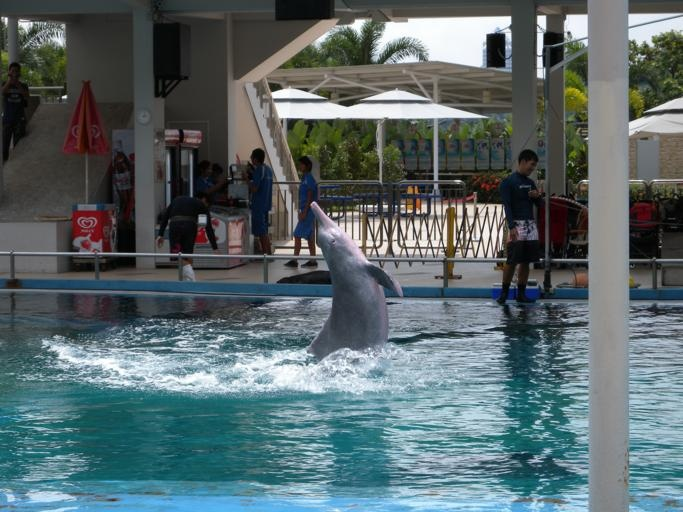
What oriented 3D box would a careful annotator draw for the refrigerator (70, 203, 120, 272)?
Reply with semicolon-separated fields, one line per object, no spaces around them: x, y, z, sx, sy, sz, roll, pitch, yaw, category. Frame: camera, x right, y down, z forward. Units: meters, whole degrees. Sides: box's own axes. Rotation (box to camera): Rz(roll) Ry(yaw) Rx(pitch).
-3.876;-0.304;19.768;0.781;1.054;0.784;-6;13;-25;refrigerator

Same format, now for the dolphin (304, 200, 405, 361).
0.127;0.277;12.664;0.870;1.651;0.446;0;12;2;dolphin

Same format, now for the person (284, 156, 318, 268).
-0.661;-0.755;20.309;0.771;1.713;0.570;0;1;0;person

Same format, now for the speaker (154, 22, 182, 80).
-2.742;-3.247;19.657;0.467;0.872;0.187;6;13;27;speaker

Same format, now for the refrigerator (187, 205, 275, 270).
-1.850;-0.328;20.512;0.963;1.077;1.692;0;3;7;refrigerator

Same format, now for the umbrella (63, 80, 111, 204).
-4.113;-1.862;20.269;0.756;1.881;0.607;1;15;-7;umbrella

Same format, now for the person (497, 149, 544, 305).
2.292;-0.407;16.150;0.673;1.710;0.552;0;0;37;person

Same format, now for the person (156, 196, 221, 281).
-2.191;-0.294;18.129;0.897;1.505;0.546;5;-7;-8;person

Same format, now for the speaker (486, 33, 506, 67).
2.455;-3.245;19.490;0.310;0.550;0.564;1;12;6;speaker
